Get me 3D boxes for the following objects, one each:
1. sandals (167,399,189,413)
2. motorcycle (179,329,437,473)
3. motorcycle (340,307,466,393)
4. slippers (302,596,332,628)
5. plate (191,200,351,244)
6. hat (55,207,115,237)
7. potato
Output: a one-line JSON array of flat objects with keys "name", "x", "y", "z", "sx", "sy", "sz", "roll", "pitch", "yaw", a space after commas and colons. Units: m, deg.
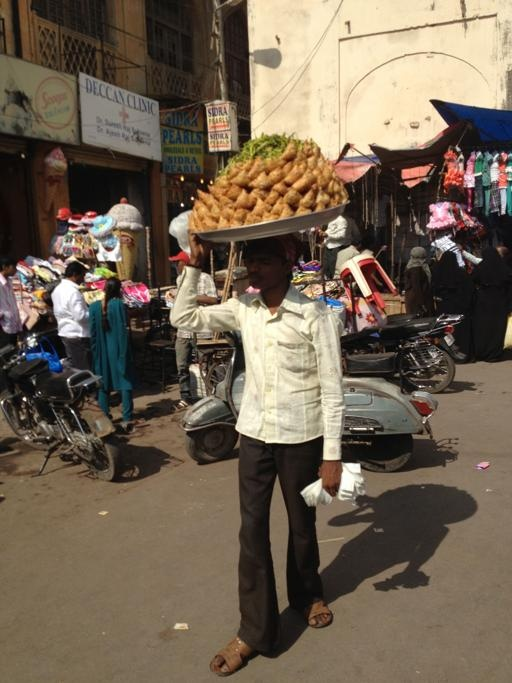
[{"name": "sandals", "x": -0.943, "y": 0.782, "z": 6.831, "sx": 0.199, "sy": 0.067, "sz": 0.118, "roll": -4, "pitch": 4, "yaw": -40}, {"name": "motorcycle", "x": 0.401, "y": 0.447, "z": 4.824, "sx": 2.156, "sy": 1.190, "sz": 0.990, "roll": 3, "pitch": 13, "yaw": 12}, {"name": "motorcycle", "x": 1.538, "y": 0.101, "z": 5.954, "sx": 1.248, "sy": 0.791, "sz": 0.816, "roll": 3, "pitch": 17, "yaw": -5}, {"name": "slippers", "x": 0.278, "y": 1.183, "z": 2.497, "sx": 0.080, "sy": 0.059, "sz": 0.148, "roll": -1, "pitch": 0, "yaw": 5}, {"name": "plate", "x": 0.039, "y": -0.422, "z": 2.015, "sx": 0.539, "sy": 0.104, "sz": 0.267, "roll": -2, "pitch": 7, "yaw": 7}, {"name": "hat", "x": -2.667, "y": -1.756, "z": 8.711, "sx": 1.112, "sy": 0.562, "sz": 0.663, "roll": -2, "pitch": 16, "yaw": -17}, {"name": "potato", "x": 0.046, "y": -0.539, "z": 2.085, "sx": 0.491, "sy": 0.195, "sz": 0.432, "roll": -12, "pitch": 20, "yaw": 5}]
